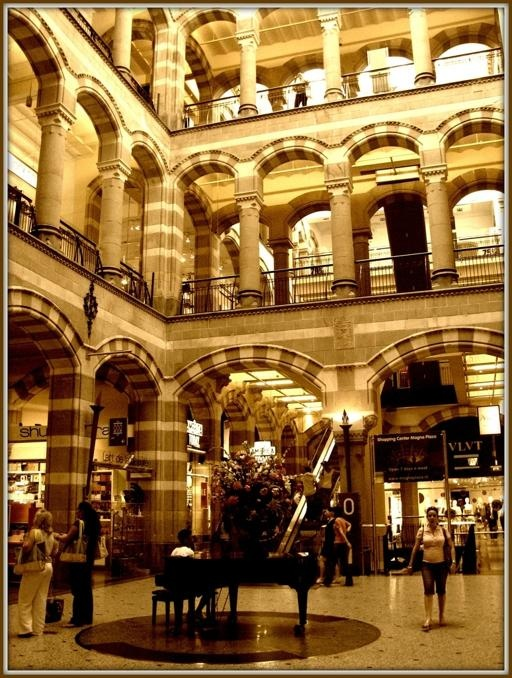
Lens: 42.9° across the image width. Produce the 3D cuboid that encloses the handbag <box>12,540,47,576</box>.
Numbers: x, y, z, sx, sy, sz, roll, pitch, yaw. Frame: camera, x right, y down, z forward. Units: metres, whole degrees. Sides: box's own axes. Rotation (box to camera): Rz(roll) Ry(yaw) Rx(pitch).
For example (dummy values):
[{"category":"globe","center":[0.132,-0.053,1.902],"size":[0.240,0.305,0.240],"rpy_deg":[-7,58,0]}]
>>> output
[{"category":"handbag","center":[-2.111,2.050,6.105],"size":[0.273,0.287,0.238],"rpy_deg":[2,-15,-9]}]

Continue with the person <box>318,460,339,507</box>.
[{"category":"person","center":[1.599,3.410,15.177],"size":[0.352,1.323,0.345],"rpy_deg":[11,25,21]}]

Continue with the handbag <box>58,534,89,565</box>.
[{"category":"handbag","center":[-1.903,2.201,6.818],"size":[0.262,0.272,0.171],"rpy_deg":[1,-15,-6]}]

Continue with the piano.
[{"category":"piano","center":[-0.198,2.440,6.274],"size":[1.483,0.677,0.441],"rpy_deg":[-3,-15,7]}]

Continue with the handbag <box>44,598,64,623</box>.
[{"category":"handbag","center":[-2.144,2.881,6.924],"size":[0.192,0.175,0.223],"rpy_deg":[-5,-16,21]}]

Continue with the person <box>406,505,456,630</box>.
[{"category":"person","center":[1.751,2.252,6.554],"size":[0.453,1.101,1.375],"rpy_deg":[-4,-16,15]}]

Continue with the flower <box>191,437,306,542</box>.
[{"category":"flower","center":[-0.063,1.850,7.056],"size":[1.139,1.131,1.189],"rpy_deg":[-13,-21,32]}]

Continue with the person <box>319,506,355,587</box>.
[{"category":"person","center":[1.362,3.500,11.080],"size":[0.491,1.271,0.924],"rpy_deg":[-2,-15,7]}]
